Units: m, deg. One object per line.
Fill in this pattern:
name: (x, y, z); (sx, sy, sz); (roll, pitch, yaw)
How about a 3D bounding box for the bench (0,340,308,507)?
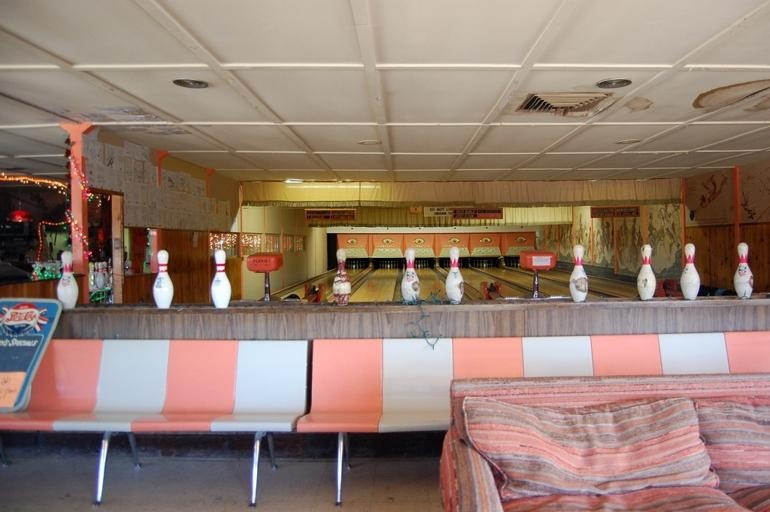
bench: (-1.345, 0.937, 2.999); (1.754, 0.858, 0.440); (0, -3, 2)
